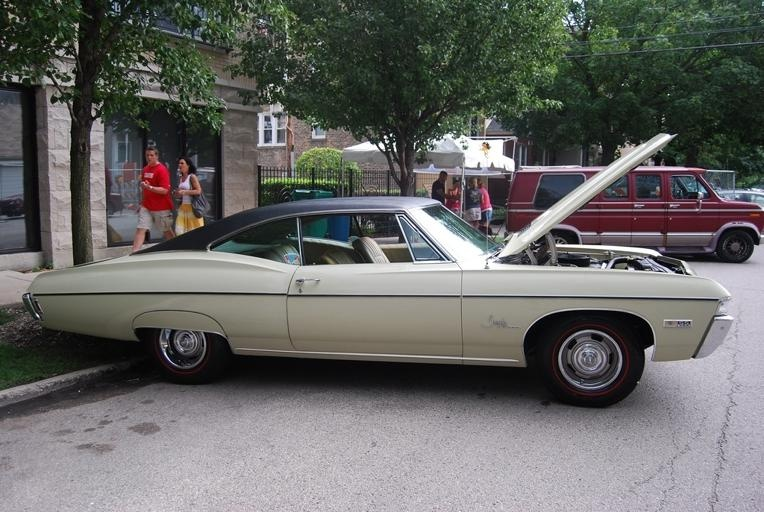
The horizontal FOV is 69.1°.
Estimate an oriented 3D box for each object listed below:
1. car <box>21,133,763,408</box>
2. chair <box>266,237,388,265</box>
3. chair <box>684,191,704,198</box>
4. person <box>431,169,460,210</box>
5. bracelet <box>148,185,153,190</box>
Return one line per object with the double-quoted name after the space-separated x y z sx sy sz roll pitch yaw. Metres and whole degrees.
-0.005 0.388 7.308 7.486 3.238 3.305 -2 4 9 "car"
-0.501 -0.015 6.541 1.003 0.371 0.398 1 -12 -5 "chair"
7.994 -1.550 14.277 0.306 0.136 0.244 7 -6 -43 "chair"
2.092 -1.731 17.985 0.935 2.020 0.734 4 0 9 "person"
-4.590 -1.351 11.034 0.065 0.030 0.098 9 2 18 "bracelet"
